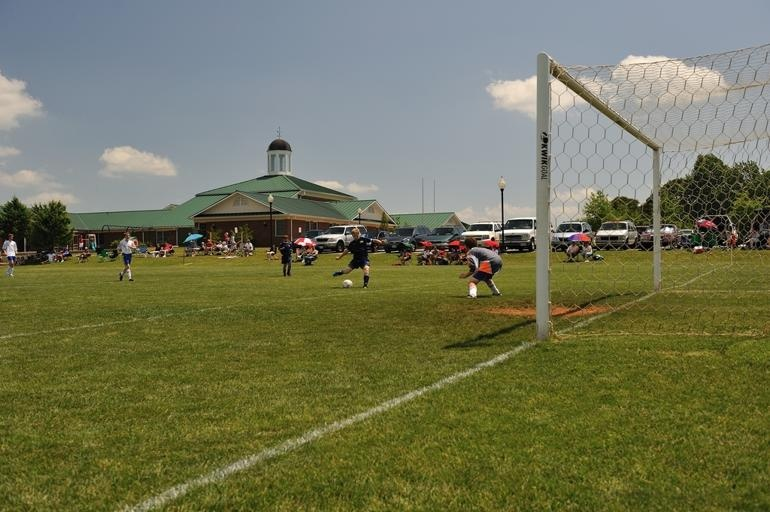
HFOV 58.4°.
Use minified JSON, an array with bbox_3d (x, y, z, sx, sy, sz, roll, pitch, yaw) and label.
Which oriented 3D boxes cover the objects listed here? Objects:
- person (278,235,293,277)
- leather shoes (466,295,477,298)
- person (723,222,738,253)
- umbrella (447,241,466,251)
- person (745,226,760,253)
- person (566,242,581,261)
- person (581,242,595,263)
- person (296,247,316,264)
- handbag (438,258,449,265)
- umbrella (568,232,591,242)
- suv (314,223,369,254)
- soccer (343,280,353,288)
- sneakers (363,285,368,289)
[{"bbox_3d":[-3.532,0.095,24.842,0.397,1.278,1.796,-1,0,-10],"label":"person"},{"bbox_3d":[1.985,0.947,15.933,0.079,0.082,0.212,-3,1,-39],"label":"leather shoes"},{"bbox_3d":[11.577,-0.649,23.178,0.352,1.042,0.429,8,-14,34],"label":"person"},{"bbox_3d":[3.357,-0.458,32.530,0.717,0.345,0.712,0,0,20],"label":"umbrella"},{"bbox_3d":[12.220,-0.633,22.992,0.395,0.889,3.657,-1,0,29],"label":"person"},{"bbox_3d":[7.857,-0.157,28.720,0.430,0.786,1.669,-1,0,22],"label":"person"},{"bbox_3d":[8.513,-0.168,29.060,0.428,0.812,1.400,-1,0,16],"label":"person"},{"bbox_3d":[-3.784,0.009,33.780,0.784,0.614,1.114,2,25,32],"label":"person"},{"bbox_3d":[2.589,0.254,30.269,0.358,0.305,0.268,-19,2,-1],"label":"handbag"},{"bbox_3d":[8.238,-0.761,29.028,0.776,0.351,1.456,-1,0,11],"label":"umbrella"},{"bbox_3d":[-2.751,-1.049,44.956,1.956,1.352,3.397,-1,0,37],"label":"suv"},{"bbox_3d":[-1.011,0.794,19.148,0.240,0.202,0.247,16,0,2],"label":"soccer"},{"bbox_3d":[-0.514,0.867,19.101,0.061,0.120,0.221,-2,-3,-8],"label":"sneakers"}]
